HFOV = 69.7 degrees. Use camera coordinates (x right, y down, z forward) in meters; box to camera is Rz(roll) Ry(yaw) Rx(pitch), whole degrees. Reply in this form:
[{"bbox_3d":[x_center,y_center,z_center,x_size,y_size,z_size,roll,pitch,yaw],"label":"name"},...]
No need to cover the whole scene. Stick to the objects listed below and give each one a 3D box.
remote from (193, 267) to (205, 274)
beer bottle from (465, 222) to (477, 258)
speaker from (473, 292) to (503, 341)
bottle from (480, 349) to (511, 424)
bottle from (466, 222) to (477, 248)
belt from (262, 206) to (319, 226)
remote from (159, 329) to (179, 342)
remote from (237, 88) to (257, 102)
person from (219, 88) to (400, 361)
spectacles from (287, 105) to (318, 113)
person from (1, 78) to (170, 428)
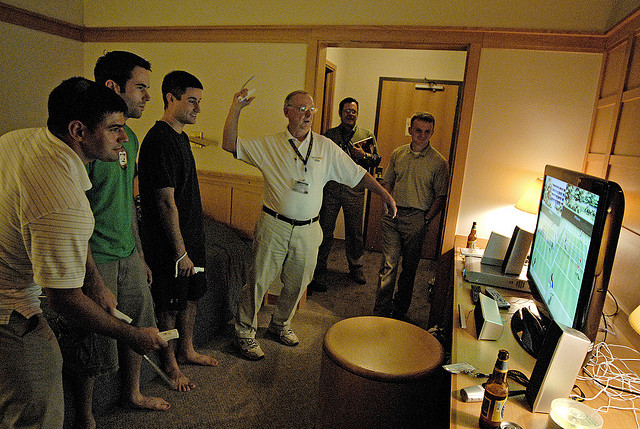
[{"bbox_3d":[-0.802,0.367,3.070,0.025,0.045,0.106,3,1,35],"label":"remote"},{"bbox_3d":[1.251,0.159,3.730,0.071,0.197,0.285,9,14,19],"label":"beer bottle"},{"bbox_3d":[0.898,0.545,2.444,0.119,0.166,0.224,7,14,9],"label":"speaker"},{"bbox_3d":[0.759,0.727,1.946,0.082,0.280,0.149,12,16,30],"label":"bottle"},{"bbox_3d":[1.224,0.168,3.671,0.057,0.190,0.156,8,14,16],"label":"bottle"},{"bbox_3d":[-0.208,0.016,3.413,0.417,0.112,0.126,3,14,-9],"label":"belt"},{"bbox_3d":[-0.775,0.626,2.420,0.121,0.028,0.063,-4,46,-42],"label":"remote"},{"bbox_3d":[-0.502,-0.839,3.285,0.086,0.095,0.189,9,14,17],"label":"remote"},{"bbox_3d":[-0.199,0.076,3.561,1.033,1.961,0.395,-5,16,-32],"label":"person"},{"bbox_3d":[-0.133,-0.762,3.355,0.113,0.034,0.113,9,9,31],"label":"spectacles"},{"bbox_3d":[-1.175,0.201,2.168,0.602,1.622,0.381,-2,15,-24],"label":"person"}]
